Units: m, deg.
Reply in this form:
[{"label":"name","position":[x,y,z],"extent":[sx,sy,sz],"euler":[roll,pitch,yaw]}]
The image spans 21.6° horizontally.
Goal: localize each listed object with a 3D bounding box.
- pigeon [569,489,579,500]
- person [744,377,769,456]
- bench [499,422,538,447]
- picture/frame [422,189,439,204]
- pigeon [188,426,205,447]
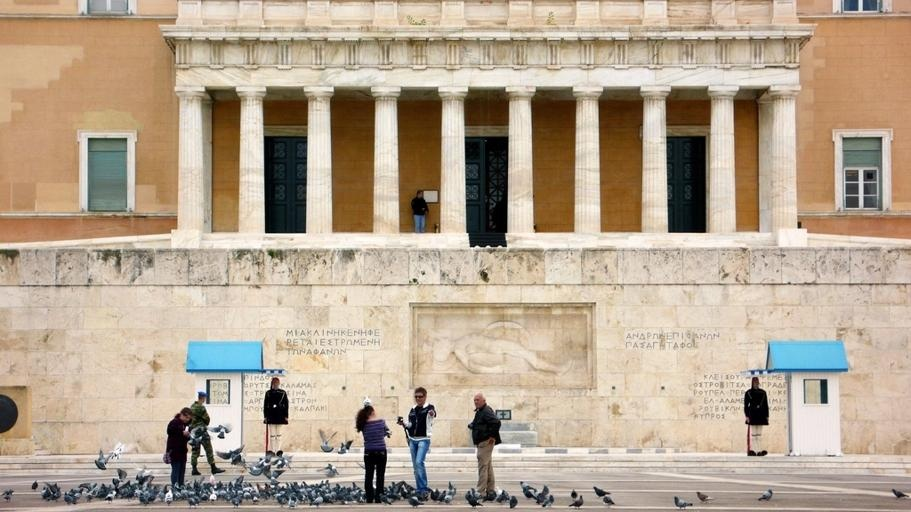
[{"label":"pigeon","position":[4.930,9.856,98.539],"extent":[0.326,0.277,0.407],"euler":[-4,-30,4]},{"label":"person","position":[13.368,7.044,104.690],"extent":[0.957,3.411,0.995],"euler":[-2,-8,2]},{"label":"bench","position":[2.760,7.942,106.313],"extent":[1.536,0.727,1.230],"euler":[1,-7,-2]},{"label":"picture/frame","position":[-1.440,-3.080,124.064],"extent":[1.086,0.597,0.099],"euler":[2,-7,-1]},{"label":"pigeon","position":[-11.230,7.642,100.737],"extent":[0.641,0.667,0.287],"euler":[7,-5,15]}]
